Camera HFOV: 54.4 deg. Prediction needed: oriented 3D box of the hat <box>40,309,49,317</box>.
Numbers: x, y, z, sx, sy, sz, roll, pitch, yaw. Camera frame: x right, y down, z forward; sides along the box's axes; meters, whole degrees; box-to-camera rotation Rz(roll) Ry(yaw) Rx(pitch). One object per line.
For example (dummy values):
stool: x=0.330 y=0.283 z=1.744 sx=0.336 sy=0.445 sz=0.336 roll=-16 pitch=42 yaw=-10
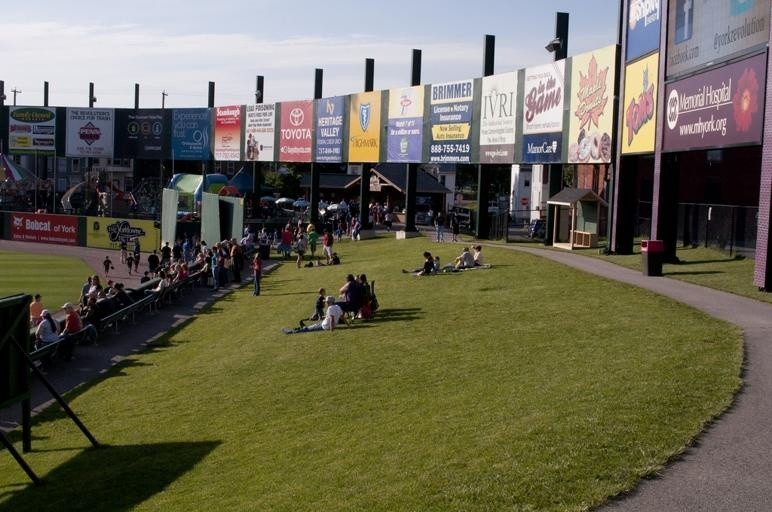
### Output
hat: x=-11.472 y=1.911 z=25.315 sx=0.334 sy=0.243 sz=0.462 roll=0 pitch=4 yaw=-38

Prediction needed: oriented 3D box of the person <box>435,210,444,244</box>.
person: x=3.313 y=-1.671 z=45.265 sx=0.511 sy=1.678 sz=1.105 roll=-6 pitch=12 yaw=4

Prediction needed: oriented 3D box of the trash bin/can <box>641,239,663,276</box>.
trash bin/can: x=10.177 y=0.108 z=28.658 sx=0.704 sy=1.352 sz=0.565 roll=-3 pitch=13 yaw=16

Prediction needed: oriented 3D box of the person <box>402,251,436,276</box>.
person: x=1.688 y=0.391 z=34.065 sx=1.453 sy=1.141 sz=0.884 roll=0 pitch=1 yaw=16

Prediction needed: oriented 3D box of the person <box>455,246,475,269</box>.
person: x=3.594 y=0.138 z=33.785 sx=0.927 sy=1.027 sz=0.712 roll=4 pitch=2 yaw=25
